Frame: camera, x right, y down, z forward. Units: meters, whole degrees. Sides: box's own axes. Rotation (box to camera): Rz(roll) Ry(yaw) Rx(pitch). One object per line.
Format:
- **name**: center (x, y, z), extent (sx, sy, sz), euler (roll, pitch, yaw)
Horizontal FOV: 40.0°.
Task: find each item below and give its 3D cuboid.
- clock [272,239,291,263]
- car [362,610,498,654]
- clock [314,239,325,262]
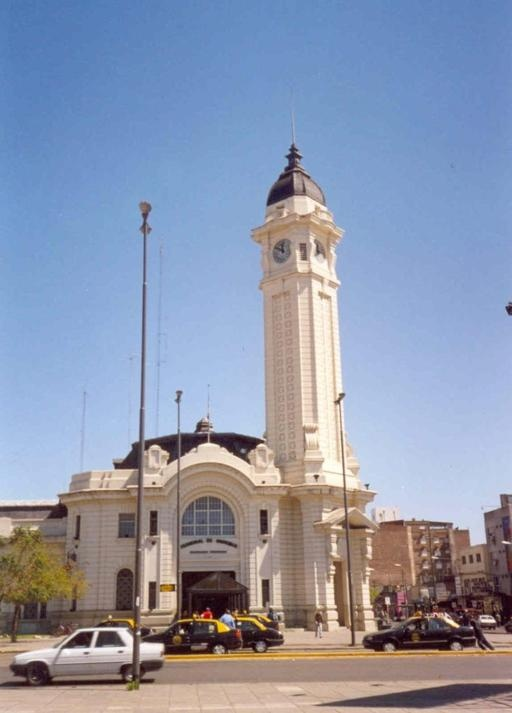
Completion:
- **clock**: center (2.209, -8.735, 58.705), extent (1.622, 1.831, 0.254), euler (-35, -43, 27)
- **car**: center (6.274, 10.437, 26.358), extent (3.865, 1.222, 1.807), euler (-1, -24, 6)
- **clock**: center (5.278, -8.845, 59.056), extent (0.167, 2.198, 1.882), euler (-14, -20, 34)
